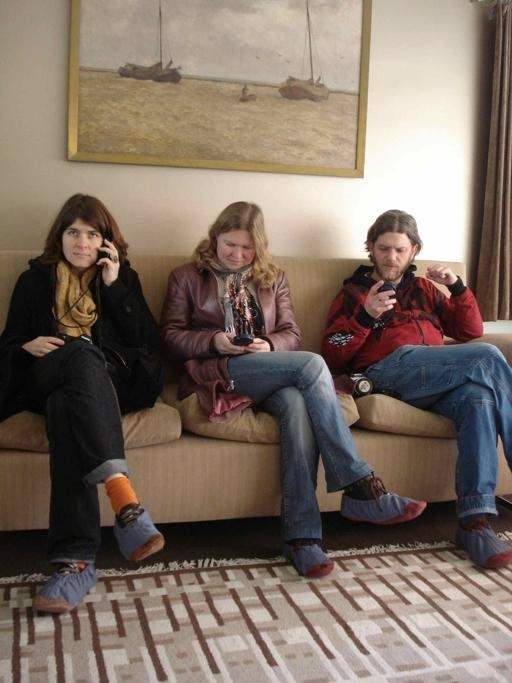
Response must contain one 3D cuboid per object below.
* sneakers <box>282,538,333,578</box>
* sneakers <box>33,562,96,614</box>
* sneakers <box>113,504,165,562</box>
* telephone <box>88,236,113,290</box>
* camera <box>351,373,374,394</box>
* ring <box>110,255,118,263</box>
[{"bbox_3d":[0.134,0.530,1.370,0.056,0.054,0.130,0,-1,-16],"label":"sneakers"},{"bbox_3d":[-0.401,0.516,1.163,0.066,0.049,0.131,1,-13,2],"label":"sneakers"},{"bbox_3d":[-0.275,0.412,1.254,0.085,0.145,0.063,-39,-24,1],"label":"sneakers"},{"bbox_3d":[-0.455,-0.229,1.652,0.055,0.126,0.074,6,6,31],"label":"telephone"},{"bbox_3d":[0.344,0.134,1.819,0.049,0.021,0.067,-11,30,-12],"label":"camera"},{"bbox_3d":[-0.425,-0.246,1.672,0.015,0.024,0.006,-20,13,-27],"label":"ring"}]
